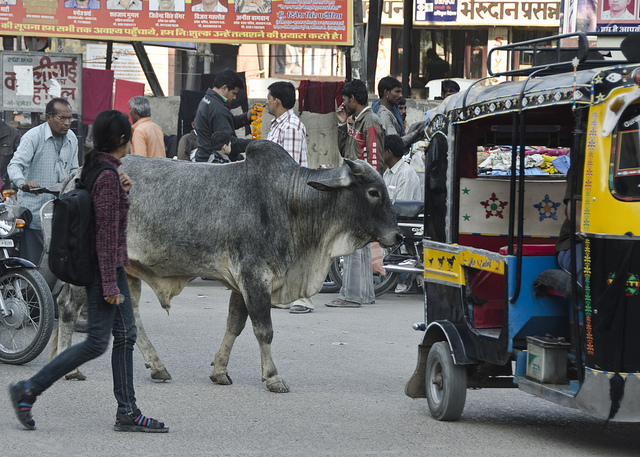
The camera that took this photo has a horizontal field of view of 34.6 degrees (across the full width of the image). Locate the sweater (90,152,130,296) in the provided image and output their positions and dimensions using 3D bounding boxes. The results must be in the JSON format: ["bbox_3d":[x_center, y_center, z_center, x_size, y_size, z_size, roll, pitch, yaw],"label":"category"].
[{"bbox_3d":[-1.654,0.036,8.082,0.315,0.983,0.279,-2,9,-26],"label":"sweater"}]

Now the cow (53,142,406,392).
[{"bbox_3d":[-0.884,0.383,9.654,3.445,2.183,0.961,0,-5,4],"label":"cow"}]

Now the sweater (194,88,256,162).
[{"bbox_3d":[-1.233,-1.250,12.495,0.577,0.868,0.827,2,8,4],"label":"sweater"}]

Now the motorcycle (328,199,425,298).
[{"bbox_3d":[0.877,0.341,13.234,0.990,1.446,1.933,-1,9,-20],"label":"motorcycle"}]

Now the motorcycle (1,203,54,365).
[{"bbox_3d":[-2.908,0.546,10.013,0.459,1.481,0.937,-2,9,-24],"label":"motorcycle"}]
